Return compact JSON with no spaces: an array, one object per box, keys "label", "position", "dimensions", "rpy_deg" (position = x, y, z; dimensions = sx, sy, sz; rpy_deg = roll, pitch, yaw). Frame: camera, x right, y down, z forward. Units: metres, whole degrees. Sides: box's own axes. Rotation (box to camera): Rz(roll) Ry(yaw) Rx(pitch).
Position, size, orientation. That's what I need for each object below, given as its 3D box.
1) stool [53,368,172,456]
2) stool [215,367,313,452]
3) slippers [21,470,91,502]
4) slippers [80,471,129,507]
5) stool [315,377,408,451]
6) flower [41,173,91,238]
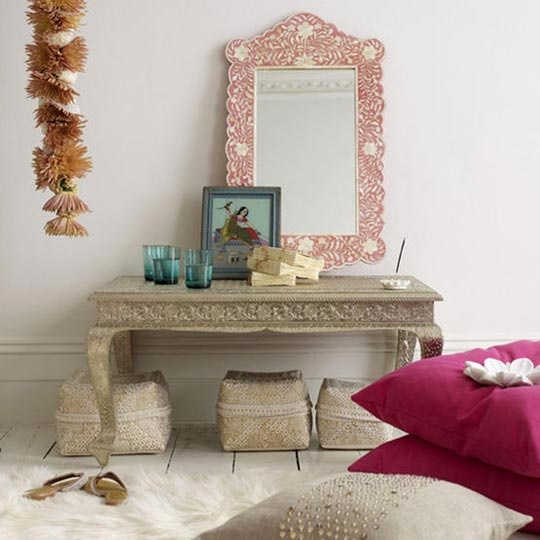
[{"label":"stool","position":[-0.721,0.591,2.357],"dimensions":[0.505,0.275,0.397],"rpy_deg":[10,-16,-43]},{"label":"stool","position":[-0.101,0.584,2.389],"dimensions":[0.455,0.260,0.334],"rpy_deg":[9,-15,-37]},{"label":"slippers","position":[-0.682,0.687,1.892],"dimensions":[0.149,0.030,0.063],"rpy_deg":[-16,6,-27]},{"label":"slippers","position":[-0.536,0.688,1.886],"dimensions":[0.121,0.054,0.069],"rpy_deg":[9,-16,4]},{"label":"stool","position":[0.377,0.597,2.376],"dimensions":[0.349,0.201,0.201],"rpy_deg":[3,-14,15]},{"label":"flower","position":[-0.533,-0.160,1.552],"dimensions":[0.106,0.144,0.141],"rpy_deg":[-3,3,-17]}]
